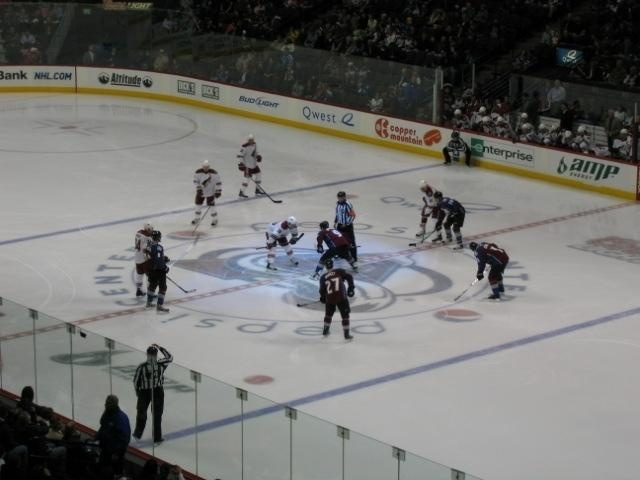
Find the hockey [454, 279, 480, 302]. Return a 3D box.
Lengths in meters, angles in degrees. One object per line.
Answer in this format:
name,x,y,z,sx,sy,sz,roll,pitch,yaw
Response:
hockey,3.373,1.181,18.122,0.273,0.124,1.483,25,-15,-1

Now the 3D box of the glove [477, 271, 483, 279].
glove,3.491,0.786,16.983,0.135,0.205,0.169,0,18,0

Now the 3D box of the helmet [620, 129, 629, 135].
helmet,9.540,-3.423,24.529,0.209,0.129,0.191,-1,7,-2

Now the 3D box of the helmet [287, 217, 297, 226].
helmet,-0.668,-0.460,18.733,0.195,0.206,0.217,13,35,-6

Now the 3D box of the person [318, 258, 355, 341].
person,0.375,1.168,16.215,0.722,1.649,1.497,5,9,2

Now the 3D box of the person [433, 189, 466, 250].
person,3.438,-0.561,21.001,0.917,1.477,1.288,6,9,9

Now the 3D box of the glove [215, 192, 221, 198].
glove,-2.841,-1.294,21.986,0.228,0.148,0.218,-4,9,-39

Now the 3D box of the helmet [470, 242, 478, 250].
helmet,3.383,0.144,17.227,0.166,0.217,0.458,6,9,12

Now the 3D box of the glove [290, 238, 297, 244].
glove,-0.644,0.020,19.026,0.166,0.164,0.192,4,9,1

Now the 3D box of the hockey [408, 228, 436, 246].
hockey,2.788,-0.020,21.303,0.300,0.133,1.723,11,22,34

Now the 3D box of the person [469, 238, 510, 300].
person,3.801,0.712,17.481,0.583,1.353,1.389,12,12,36

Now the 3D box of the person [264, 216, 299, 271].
person,-0.894,0.013,19.210,0.926,1.367,0.704,3,27,0

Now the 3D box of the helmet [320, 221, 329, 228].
helmet,0.111,-0.377,18.764,0.205,0.170,0.151,1,0,-9

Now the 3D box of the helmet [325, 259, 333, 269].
helmet,0.180,0.472,15.588,0.170,0.168,0.176,2,-21,-1

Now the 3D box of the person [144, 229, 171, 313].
person,-3.488,0.712,16.932,0.499,1.824,0.928,2,10,-11

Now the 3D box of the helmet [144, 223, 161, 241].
helmet,-3.657,-0.173,16.903,0.470,0.349,0.345,4,14,9
